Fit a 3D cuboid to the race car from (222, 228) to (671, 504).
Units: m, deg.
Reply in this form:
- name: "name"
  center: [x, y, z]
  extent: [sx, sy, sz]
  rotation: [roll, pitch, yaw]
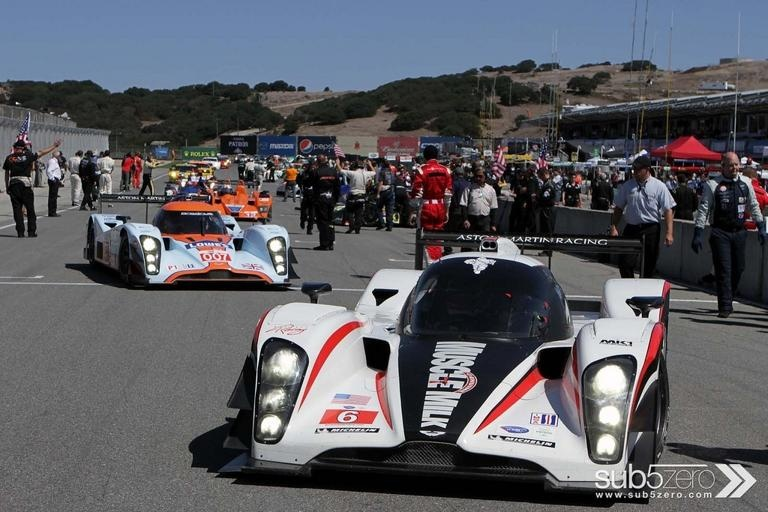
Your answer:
- name: "race car"
  center: [1.143, 0.849, 8.341]
  extent: [3.444, 1.890, 5.661]
  rotation: [1, 3, 18]

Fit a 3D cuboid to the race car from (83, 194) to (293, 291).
- name: "race car"
  center: [-3.857, -0.373, 15.116]
  extent: [3.155, 1.551, 4.909]
  rotation: [1, 4, -27]

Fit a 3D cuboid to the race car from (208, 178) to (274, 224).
- name: "race car"
  center: [-4.806, -1.880, 28.350]
  extent: [1.753, 1.044, 3.000]
  rotation: [2, 2, 0]
